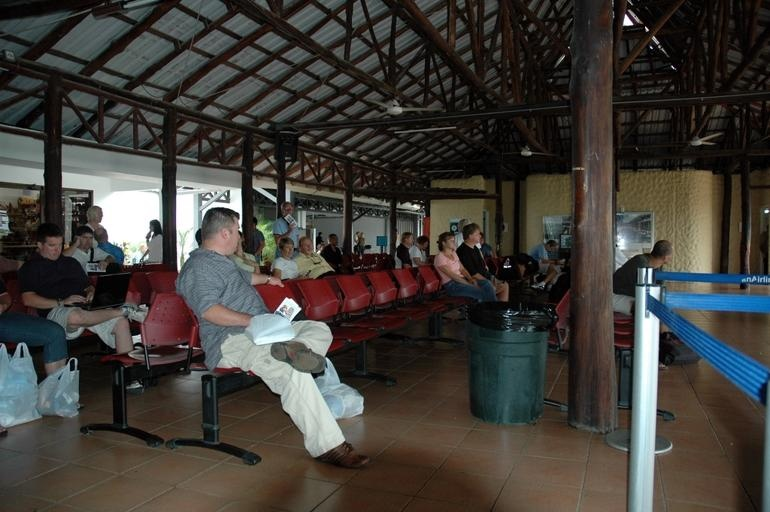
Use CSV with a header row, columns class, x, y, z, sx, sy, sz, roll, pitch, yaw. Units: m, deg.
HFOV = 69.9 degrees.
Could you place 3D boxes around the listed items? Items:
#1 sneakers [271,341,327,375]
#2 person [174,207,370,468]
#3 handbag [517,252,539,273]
class,x,y,z,sx,sy,sz,roll,pitch,yaw
sneakers,-0.663,0.777,4.418,0.487,0.195,0.208,16,1,-1
person,-0.960,0.615,4.543,1.485,1.983,0.619,4,10,25
handbag,3.014,0.116,12.044,0.473,0.396,0.510,-12,22,-34
